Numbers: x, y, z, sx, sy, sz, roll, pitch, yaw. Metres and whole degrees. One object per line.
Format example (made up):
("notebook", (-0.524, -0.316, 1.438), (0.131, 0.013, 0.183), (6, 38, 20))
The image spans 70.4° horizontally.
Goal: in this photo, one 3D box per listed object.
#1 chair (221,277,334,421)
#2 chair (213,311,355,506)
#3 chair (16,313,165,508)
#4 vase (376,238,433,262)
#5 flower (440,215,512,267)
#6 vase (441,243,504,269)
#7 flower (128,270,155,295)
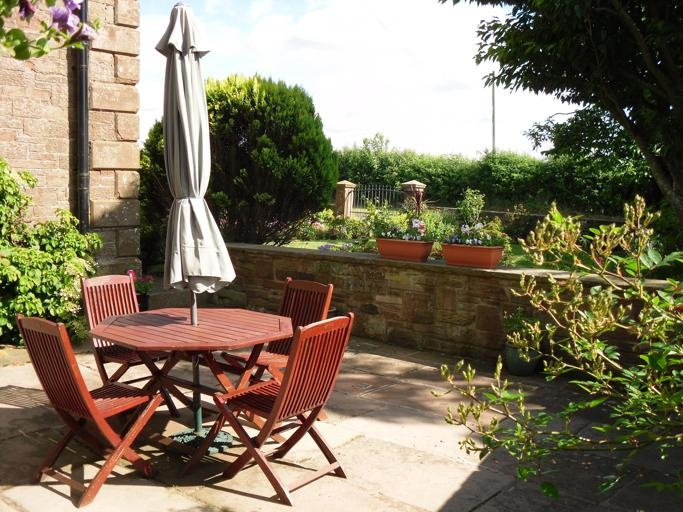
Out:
("chair", (-0.652, 0.635, 4.024), (0.837, 1.009, 0.673), (18, -11, -37))
("chair", (-0.385, 0.903, 3.154), (0.717, 1.113, 0.633), (8, 11, 40))
("chair", (-1.637, 0.874, 3.145), (0.734, 1.115, 0.899), (-4, 9, -32))
("vase", (0.786, -0.092, 6.060), (0.684, 0.260, 0.322), (2, 8, 9))
("flower", (1.643, -0.078, 5.771), (0.898, 0.472, 0.777), (8, -3, 19))
("vase", (1.500, -0.026, 5.577), (0.523, 0.180, 0.330), (1, 3, 20))
("flower", (-2.611, 0.342, 6.281), (0.351, 0.260, 0.221), (0, 22, -7))
